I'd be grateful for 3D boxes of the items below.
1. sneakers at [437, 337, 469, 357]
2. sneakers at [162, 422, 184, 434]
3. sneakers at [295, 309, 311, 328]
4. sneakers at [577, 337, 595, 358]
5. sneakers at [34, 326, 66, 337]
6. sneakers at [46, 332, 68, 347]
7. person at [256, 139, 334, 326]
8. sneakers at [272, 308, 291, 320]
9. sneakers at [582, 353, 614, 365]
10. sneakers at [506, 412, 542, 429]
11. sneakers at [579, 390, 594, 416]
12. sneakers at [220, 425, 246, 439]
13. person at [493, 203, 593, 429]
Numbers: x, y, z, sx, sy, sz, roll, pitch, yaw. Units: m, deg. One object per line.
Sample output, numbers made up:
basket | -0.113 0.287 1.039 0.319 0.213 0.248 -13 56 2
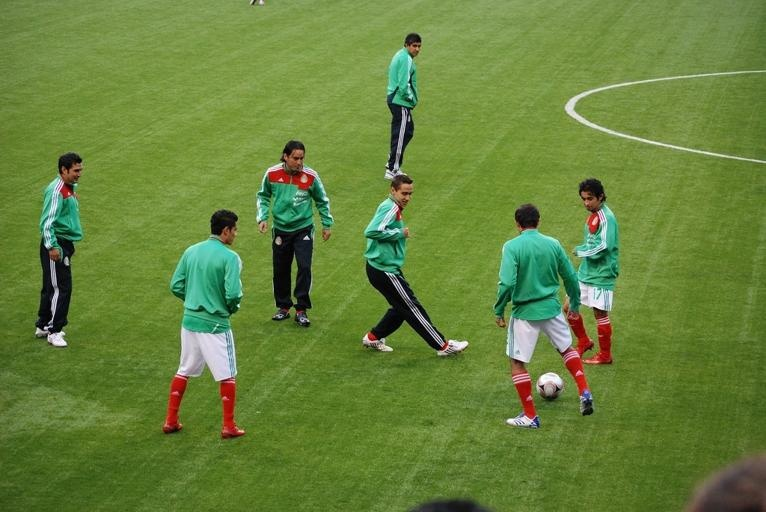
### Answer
sneakers | 1.087 1.355 16.795 0.550 0.222 0.189 -13 34 13
sneakers | -2.926 2.374 15.273 0.116 0.115 0.305 10 10 29
sneakers | -1.270 0.982 17.461 0.162 0.145 0.355 -4 5 -27
sneakers | 3.102 1.395 16.834 0.236 0.452 0.149 -1 54 -9
sneakers | -5.198 1.172 16.980 0.538 0.203 0.165 1 16 2
sneakers | -4.990 1.270 16.813 0.384 0.150 0.160 3 7 35
person | -1.392 -0.399 17.404 1.157 2.870 1.145 -3 27 -3
sneakers | -1.640 0.934 17.704 0.135 0.120 0.300 8 6 26
sneakers | 3.266 1.533 16.588 0.361 0.120 0.191 1 1 17
sneakers | 1.982 2.303 15.394 0.500 0.175 0.180 3 0 7
sneakers | 2.819 2.048 15.165 0.170 0.376 0.181 -2 53 4
sneakers | -2.102 2.420 15.196 0.383 0.156 0.131 -1 12 -28
person | 2.218 0.816 15.319 1.272 2.870 1.493 1 26 5
